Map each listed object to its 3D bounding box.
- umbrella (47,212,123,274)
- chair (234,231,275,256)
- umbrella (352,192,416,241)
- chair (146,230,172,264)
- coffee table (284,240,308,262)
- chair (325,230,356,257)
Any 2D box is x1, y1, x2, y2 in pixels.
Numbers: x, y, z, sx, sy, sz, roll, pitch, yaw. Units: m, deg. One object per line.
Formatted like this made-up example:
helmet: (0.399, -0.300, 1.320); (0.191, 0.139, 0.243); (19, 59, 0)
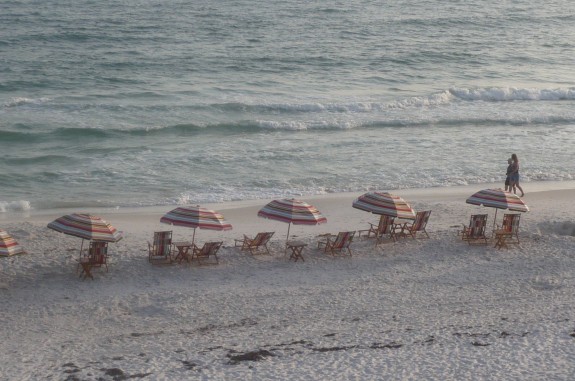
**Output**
umbrella: (-7.696, 2.066, 29.989); (1.783, 2.356, 1.705); (-15, 20, -39)
chair: (-1.168, 2.107, 31.307); (1.138, 0.652, 1.598); (-5, 12, -28)
umbrella: (3.910, 1.118, 31.566); (1.404, 1.998, 1.778); (-16, 20, -39)
chair: (-4.999, 2.185, 30.675); (1.020, 1.235, 0.818); (-4, 16, -7)
coffee table: (0.331, 2.350, 31.022); (1.339, 0.648, 0.895); (1, 19, -3)
chair: (2.052, 2.063, 31.206); (1.168, 1.008, 0.725); (-2, 15, 0)
